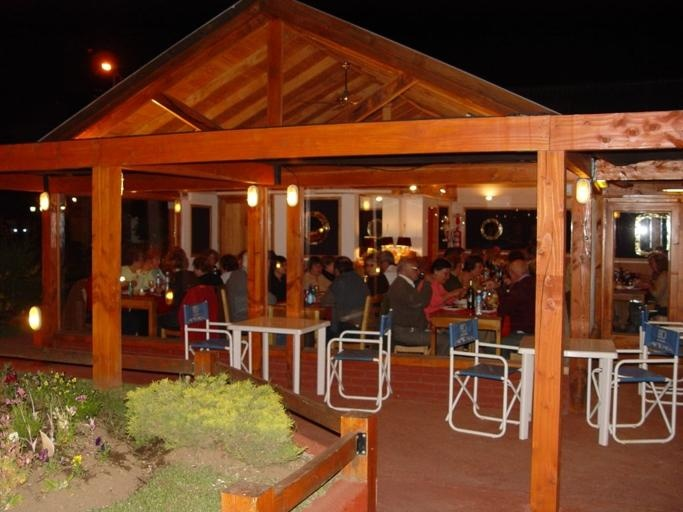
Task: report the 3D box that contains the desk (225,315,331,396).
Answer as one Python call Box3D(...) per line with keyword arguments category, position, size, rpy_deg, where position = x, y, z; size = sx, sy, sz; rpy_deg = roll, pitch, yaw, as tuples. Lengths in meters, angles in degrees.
Box3D(category="desk", position=(-0.815, 1.343, 8.395), size=(1.256, 1.017, 1.488), rpy_deg=(1, -2, -2))

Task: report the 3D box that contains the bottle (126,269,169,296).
Box3D(category="bottle", position=(-3.544, 0.473, 11.465), size=(0.462, 0.245, 0.641), rpy_deg=(2, 1, 12))

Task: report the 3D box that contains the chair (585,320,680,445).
Box3D(category="chair", position=(3.508, 1.575, 7.549), size=(0.894, 1.566, 1.171), rpy_deg=(1, -3, 5))
